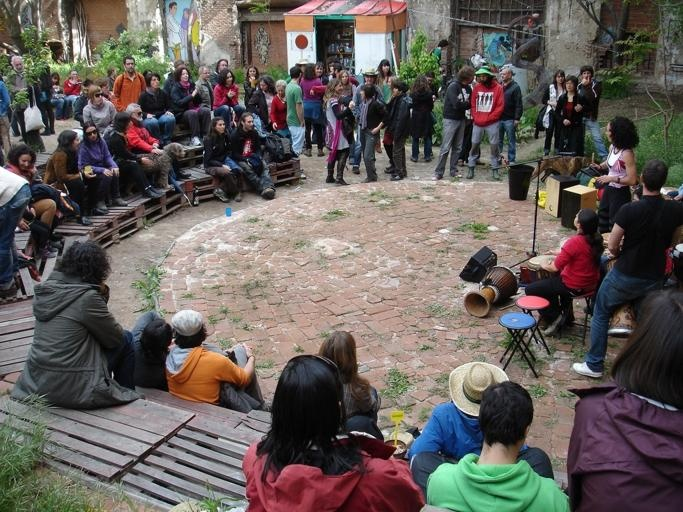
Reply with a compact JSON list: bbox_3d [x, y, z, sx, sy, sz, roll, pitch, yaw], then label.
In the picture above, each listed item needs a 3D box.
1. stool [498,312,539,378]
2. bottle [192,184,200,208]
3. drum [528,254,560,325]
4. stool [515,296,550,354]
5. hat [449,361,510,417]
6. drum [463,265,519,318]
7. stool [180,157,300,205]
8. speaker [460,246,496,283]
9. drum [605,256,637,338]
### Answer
[{"bbox_3d":[1.974,1.007,5.801,0.466,0.691,0.468,4,24,27],"label":"stool"},{"bbox_3d":[-3.131,-1.305,11.170,0.141,0.404,0.173,0,-2,-9],"label":"bottle"},{"bbox_3d":[2.559,0.265,6.461,0.484,0.300,1.096,2,13,17],"label":"drum"},{"bbox_3d":[2.202,0.801,5.992,0.465,0.505,0.525,9,23,24],"label":"stool"},{"bbox_3d":[1.018,0.912,3.718,0.431,0.173,0.511,-8,20,32],"label":"hat"},{"bbox_3d":[2.007,0.455,7.004,0.794,0.530,0.530,-23,-15,-47],"label":"drum"},{"bbox_3d":[-2.346,-1.666,11.479,1.928,0.469,1.170,14,26,30],"label":"stool"},{"bbox_3d":[1.986,0.133,7.580,0.382,0.365,0.273,20,32,-32],"label":"speaker"},{"bbox_3d":[2.845,0.700,5.301,0.213,0.415,0.377,7,19,27],"label":"drum"}]
